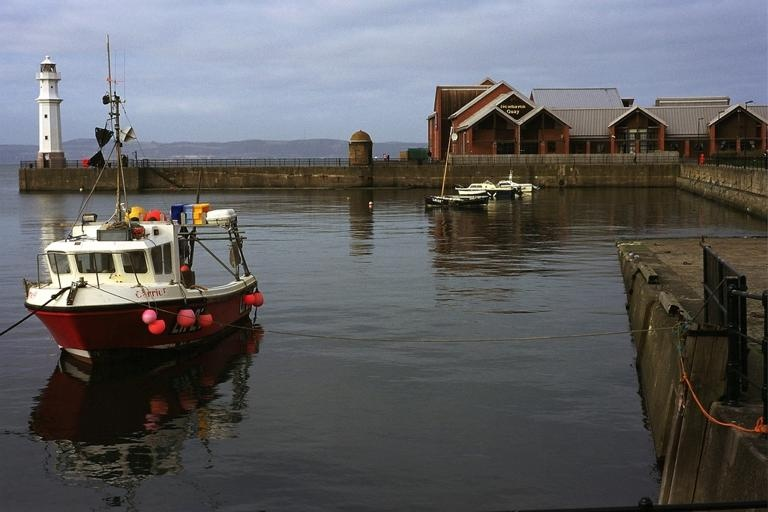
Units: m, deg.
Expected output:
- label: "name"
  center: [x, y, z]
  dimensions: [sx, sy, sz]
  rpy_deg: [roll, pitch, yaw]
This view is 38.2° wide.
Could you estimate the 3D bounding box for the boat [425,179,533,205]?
- label: "boat"
  center: [7.416, -4.718, 81.407]
  dimensions: [8.485, 1.935, 1.846]
  rpy_deg: [-9, 13, -23]
